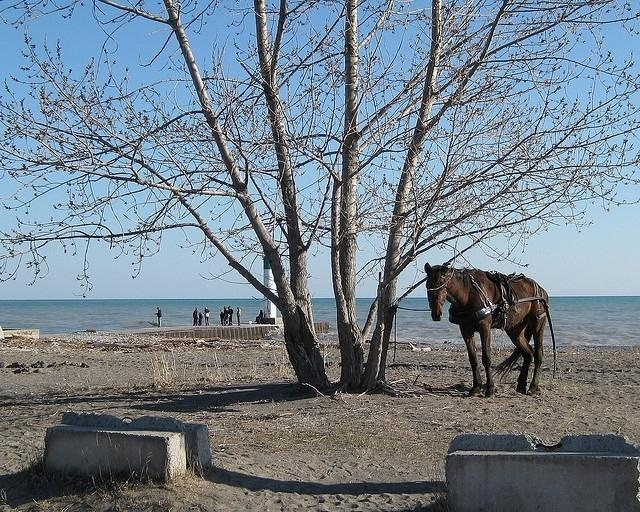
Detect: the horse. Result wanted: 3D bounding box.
[{"bbox_3d":[3.282,1.465,12.415,2.867,2.391,0.943,5,-2,-24],"label":"horse"}]
